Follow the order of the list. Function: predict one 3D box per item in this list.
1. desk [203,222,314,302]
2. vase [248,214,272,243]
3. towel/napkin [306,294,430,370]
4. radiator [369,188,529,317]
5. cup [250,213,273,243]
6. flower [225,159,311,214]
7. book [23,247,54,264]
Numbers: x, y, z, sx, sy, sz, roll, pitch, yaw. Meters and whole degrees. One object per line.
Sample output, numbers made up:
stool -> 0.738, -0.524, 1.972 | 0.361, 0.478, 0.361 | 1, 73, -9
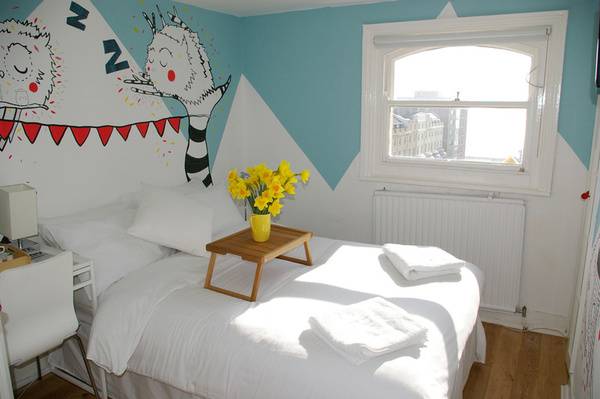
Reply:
desk -> -0.353, 0.371, 3.122 | 0.482, 0.349, 0.791 | 7, 13, 26
vase -> -0.345, 0.225, 3.175 | 0.141, 0.226, 0.232 | 5, 4, 37
towel/napkin -> 0.431, 0.838, 2.493 | 0.673, 0.227, 0.335 | 0, 11, -20
radiator -> 1.434, 0.477, 3.528 | 1.149, 1.055, 0.102 | 3, 9, 20
cup -> -0.340, 0.223, 3.173 | 0.143, 0.229, 0.233 | 4, 6, 28
flower -> -0.260, -0.107, 3.428 | 0.580, 0.484, 0.661 | 0, 4, 10
book -> -1.942, 0.404, 2.893 | 0.156, 0.040, 0.163 | 11, 14, 10
